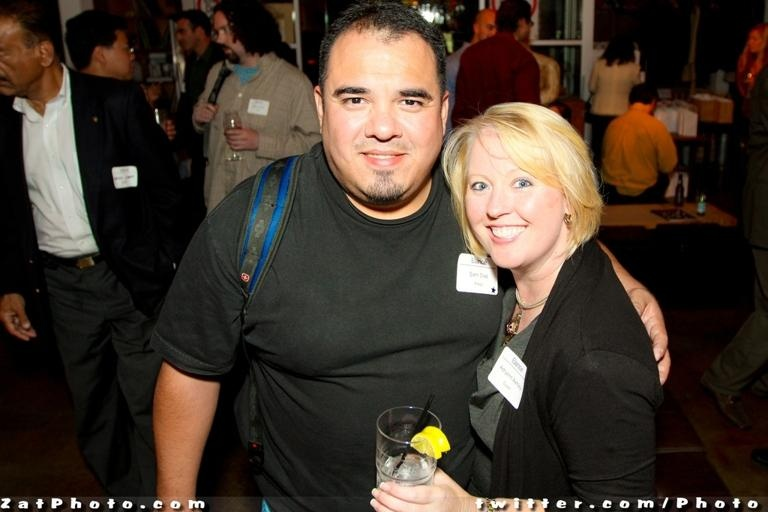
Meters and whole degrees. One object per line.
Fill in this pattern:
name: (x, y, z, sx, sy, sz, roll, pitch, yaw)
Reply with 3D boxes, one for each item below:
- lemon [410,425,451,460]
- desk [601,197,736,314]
lemon: (0.166, 0.689, 2.179, 0.135, 0.097, 0.085, 3, 17, 3)
desk: (3.073, -0.030, 6.263, 1.690, 0.378, 1.116, -6, 36, -5)
